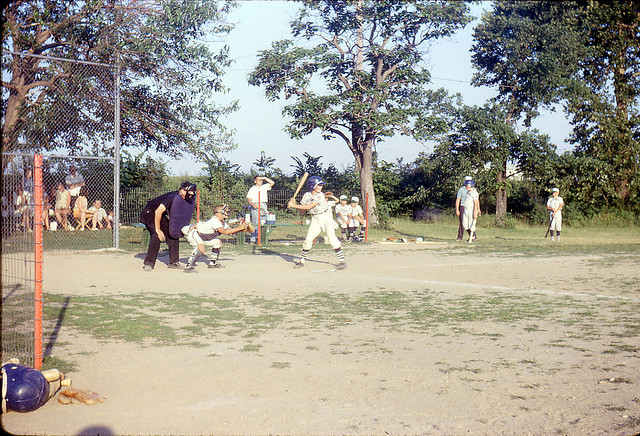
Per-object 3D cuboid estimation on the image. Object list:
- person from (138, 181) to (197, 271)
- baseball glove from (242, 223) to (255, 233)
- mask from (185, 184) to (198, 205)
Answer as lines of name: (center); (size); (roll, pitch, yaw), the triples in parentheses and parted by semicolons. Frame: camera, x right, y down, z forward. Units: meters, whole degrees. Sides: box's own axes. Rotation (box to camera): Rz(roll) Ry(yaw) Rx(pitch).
person: (-4.036, 0.223, 18.239); (1.419, 2.485, 1.122); (-1, 11, -14)
baseball glove: (-2.393, 0.406, 23.445); (0.368, 0.104, 0.394); (-12, -13, 20)
mask: (-3.403, -0.631, 17.954); (0.272, 0.587, 0.633); (-1, 11, -13)
